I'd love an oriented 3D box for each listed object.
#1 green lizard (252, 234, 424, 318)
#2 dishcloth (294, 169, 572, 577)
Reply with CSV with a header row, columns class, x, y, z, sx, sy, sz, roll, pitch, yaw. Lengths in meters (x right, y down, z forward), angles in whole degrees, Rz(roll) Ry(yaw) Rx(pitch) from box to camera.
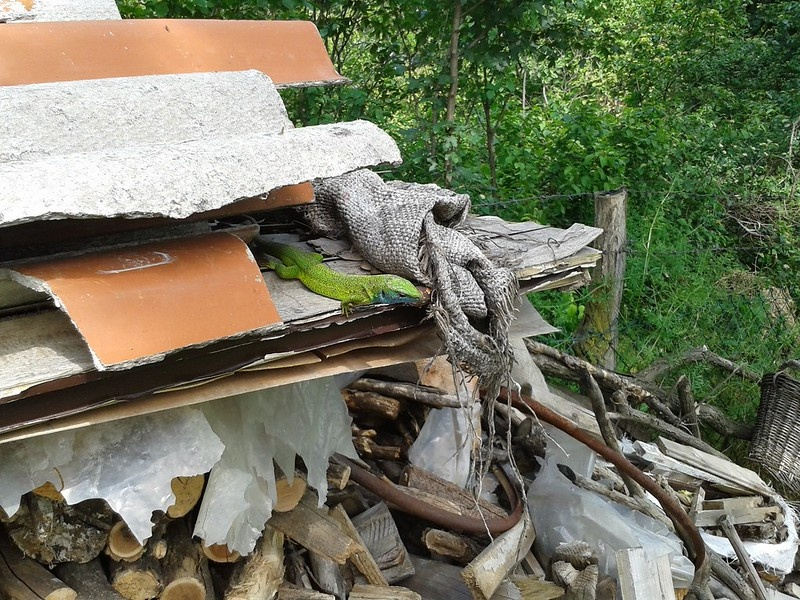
class,x,y,z,sx,sy,sz,roll,pitch,yaw
green lizard,-0.447,-0.125,3.817,1.284,0.148,0.336,19,14,35
dishcloth,0.033,-0.007,4.086,1.567,0.803,0.976,35,24,-6
